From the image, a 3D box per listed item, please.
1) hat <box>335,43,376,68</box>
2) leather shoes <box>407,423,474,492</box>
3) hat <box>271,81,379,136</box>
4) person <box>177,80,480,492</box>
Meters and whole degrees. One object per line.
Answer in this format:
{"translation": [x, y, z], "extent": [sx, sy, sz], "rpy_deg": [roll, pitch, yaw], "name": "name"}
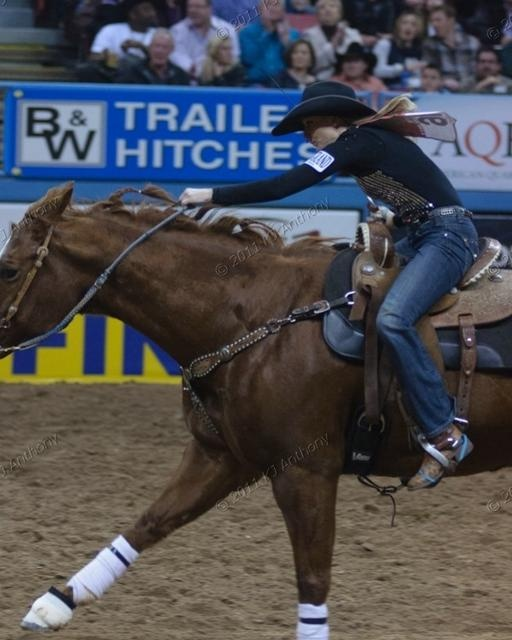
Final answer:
{"translation": [0.788, -2.080, 8.263], "extent": [0.307, 0.209, 0.103], "rpy_deg": [0, 14, -13], "name": "hat"}
{"translation": [0.649, 0.473, 3.725], "extent": [0.215, 0.268, 0.138], "rpy_deg": [4, 14, 4], "name": "leather shoes"}
{"translation": [0.237, -0.775, 3.832], "extent": [0.342, 0.102, 0.218], "rpy_deg": [-7, -3, -13], "name": "hat"}
{"translation": [0.338, -0.151, 3.837], "extent": [1.004, 1.420, 0.613], "rpy_deg": [5, 14, 9], "name": "person"}
